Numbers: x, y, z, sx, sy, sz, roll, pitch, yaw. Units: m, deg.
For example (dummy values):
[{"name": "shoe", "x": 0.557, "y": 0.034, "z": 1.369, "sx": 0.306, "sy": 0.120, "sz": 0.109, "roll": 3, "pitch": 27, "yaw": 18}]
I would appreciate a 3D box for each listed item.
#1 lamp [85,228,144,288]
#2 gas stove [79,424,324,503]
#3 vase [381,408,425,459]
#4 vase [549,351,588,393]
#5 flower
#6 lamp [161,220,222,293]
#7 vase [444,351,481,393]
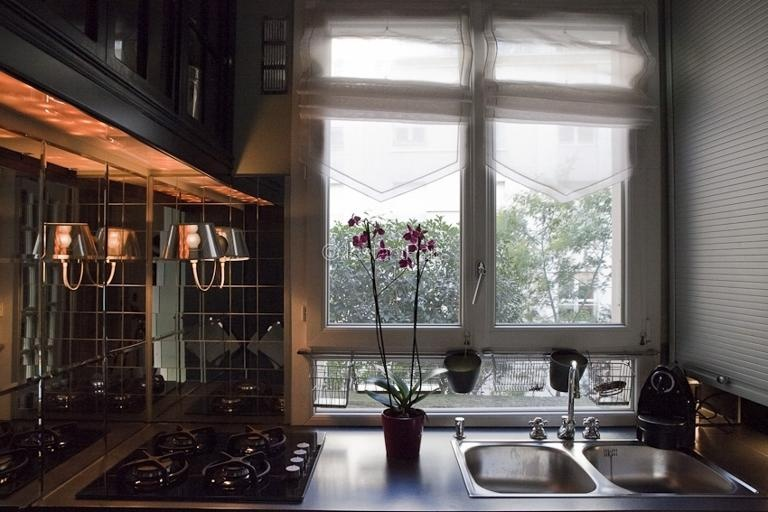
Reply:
[{"name": "lamp", "x": -1.147, "y": -0.017, "z": 2.797, "sx": 0.179, "sy": 0.202, "sz": 0.179, "roll": 7, "pitch": 15, "yaw": -36}, {"name": "gas stove", "x": -0.713, "y": 0.850, "z": 2.798, "sx": 0.892, "sy": 0.200, "sz": 0.486, "roll": 0, "pitch": -1, "yaw": -2}, {"name": "vase", "x": 0.078, "y": 0.788, "z": 2.958, "sx": 0.211, "sy": 0.176, "sz": 0.222, "roll": -1, "pitch": -2, "yaw": -32}, {"name": "vase", "x": 0.832, "y": 0.530, "z": 3.081, "sx": 0.158, "sy": 0.143, "sz": 0.199, "roll": 7, "pitch": -4, "yaw": 7}, {"name": "flower", "x": 0.040, "y": 0.260, "z": 3.059, "sx": 0.442, "sy": 0.904, "sz": 0.368, "roll": 0, "pitch": -1, "yaw": 3}, {"name": "lamp", "x": -0.772, "y": 0.004, "z": 2.719, "sx": 0.229, "sy": 0.246, "sz": 0.229, "roll": -4, "pitch": 0, "yaw": 42}, {"name": "vase", "x": 0.357, "y": 0.541, "z": 3.093, "sx": 0.167, "sy": 0.208, "sz": 0.224, "roll": 0, "pitch": -1, "yaw": 4}]
